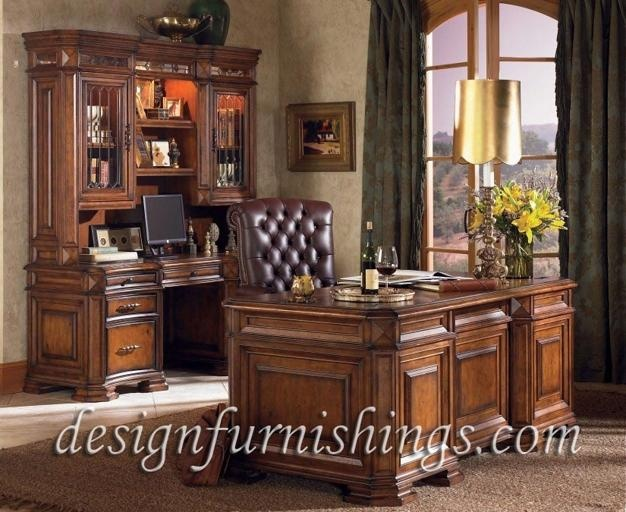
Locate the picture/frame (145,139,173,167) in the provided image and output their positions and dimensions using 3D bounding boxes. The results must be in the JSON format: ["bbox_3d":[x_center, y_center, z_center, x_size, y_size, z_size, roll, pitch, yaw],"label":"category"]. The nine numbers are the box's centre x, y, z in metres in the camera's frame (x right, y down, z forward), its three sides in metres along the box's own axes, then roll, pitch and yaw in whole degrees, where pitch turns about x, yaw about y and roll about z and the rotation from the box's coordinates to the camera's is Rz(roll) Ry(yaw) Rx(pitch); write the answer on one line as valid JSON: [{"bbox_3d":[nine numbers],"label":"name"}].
[{"bbox_3d":[-1.281,-0.865,5.160,0.234,0.210,0.053,-5,0,-44],"label":"picture/frame"}]

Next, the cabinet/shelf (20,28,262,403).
[{"bbox_3d":[-1.371,-0.381,4.910,0.740,2.841,1.657,0,0,43],"label":"cabinet/shelf"}]

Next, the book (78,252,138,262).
[{"bbox_3d":[-1.498,0.013,4.544,0.418,0.086,0.136,-1,1,-43],"label":"book"}]

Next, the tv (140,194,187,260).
[{"bbox_3d":[-1.237,-0.239,5.013,0.193,0.586,0.523,-2,4,36],"label":"tv"}]

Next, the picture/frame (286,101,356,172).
[{"bbox_3d":[0.097,-1.149,5.876,0.730,0.619,0.051,1,4,28],"label":"picture/frame"}]

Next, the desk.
[{"bbox_3d":[0.513,0.582,2.872,1.741,0.919,0.631,-1,0,-25],"label":"desk"}]
